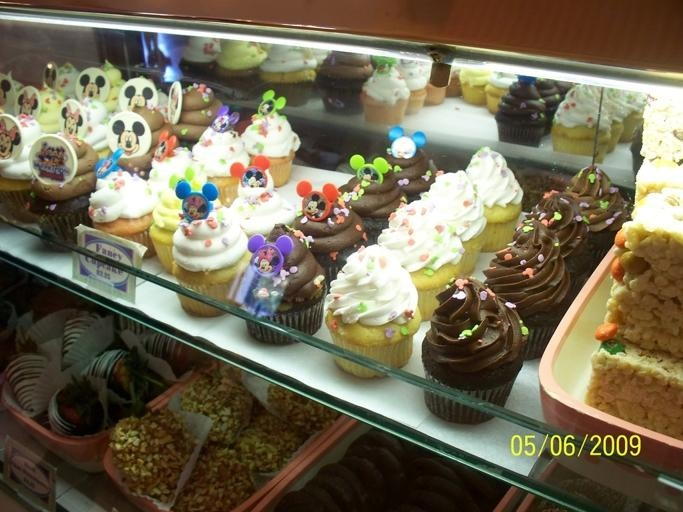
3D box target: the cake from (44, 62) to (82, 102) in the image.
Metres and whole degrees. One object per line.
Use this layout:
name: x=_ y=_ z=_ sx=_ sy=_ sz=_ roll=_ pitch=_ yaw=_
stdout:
cake: x=-1.662 y=-1.023 z=3.111 sx=0.163 sy=0.214 sz=0.185 roll=16 pitch=14 yaw=9

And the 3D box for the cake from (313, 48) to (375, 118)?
cake: x=0.059 y=-0.916 z=2.767 sx=0.287 sy=0.269 sz=0.309 roll=22 pitch=38 yaw=28

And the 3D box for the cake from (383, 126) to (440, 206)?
cake: x=0.318 y=-0.487 z=2.633 sx=0.310 sy=0.296 sz=0.314 roll=18 pitch=41 yaw=23

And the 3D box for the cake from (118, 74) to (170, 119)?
cake: x=-1.122 y=-0.891 z=2.942 sx=0.245 sy=0.236 sz=0.059 roll=-10 pitch=5 yaw=9

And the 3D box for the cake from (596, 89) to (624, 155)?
cake: x=1.181 y=-0.600 z=2.306 sx=0.157 sy=0.216 sz=0.159 roll=7 pitch=39 yaw=24

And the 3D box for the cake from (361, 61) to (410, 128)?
cake: x=0.219 y=-0.833 z=2.630 sx=0.250 sy=0.345 sz=0.255 roll=18 pitch=38 yaw=25

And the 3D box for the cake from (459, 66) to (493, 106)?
cake: x=0.606 y=-0.796 z=2.449 sx=0.142 sy=0.147 sz=0.149 roll=25 pitch=34 yaw=34

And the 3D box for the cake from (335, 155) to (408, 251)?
cake: x=0.156 y=-0.242 z=2.578 sx=0.402 sy=0.348 sz=0.393 roll=-1 pitch=35 yaw=6

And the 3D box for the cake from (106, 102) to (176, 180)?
cake: x=-1.163 y=-0.620 z=2.753 sx=0.352 sy=0.321 sz=0.346 roll=1 pitch=29 yaw=-32

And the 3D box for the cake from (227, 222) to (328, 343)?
cake: x=-0.224 y=0.087 z=2.089 sx=0.360 sy=0.441 sz=0.400 roll=16 pitch=28 yaw=19

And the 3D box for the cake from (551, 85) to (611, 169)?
cake: x=1.131 y=-0.626 z=2.462 sx=0.248 sy=0.332 sz=0.260 roll=-1 pitch=4 yaw=41

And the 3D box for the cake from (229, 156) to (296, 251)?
cake: x=-0.388 y=-0.289 z=2.468 sx=0.369 sy=0.375 sz=0.378 roll=4 pitch=30 yaw=11

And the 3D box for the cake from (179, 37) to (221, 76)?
cake: x=-0.781 y=-1.106 z=2.906 sx=0.187 sy=0.199 sz=0.179 roll=5 pitch=52 yaw=-6

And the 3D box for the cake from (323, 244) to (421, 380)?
cake: x=0.113 y=0.191 z=1.979 sx=0.372 sy=0.424 sz=0.359 roll=-23 pitch=32 yaw=-34

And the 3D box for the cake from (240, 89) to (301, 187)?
cake: x=-0.413 y=-0.655 z=3.020 sx=0.382 sy=0.505 sz=0.338 roll=-2 pitch=21 yaw=-38

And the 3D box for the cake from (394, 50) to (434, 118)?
cake: x=0.327 y=-0.824 z=2.551 sx=0.190 sy=0.273 sz=0.186 roll=-10 pitch=28 yaw=-19

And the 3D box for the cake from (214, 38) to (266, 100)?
cake: x=-0.609 y=-1.050 z=2.977 sx=0.318 sy=0.394 sz=0.288 roll=3 pitch=1 yaw=-18

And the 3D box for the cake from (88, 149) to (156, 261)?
cake: x=-1.106 y=-0.265 z=2.653 sx=0.380 sy=0.534 sz=0.383 roll=4 pitch=12 yaw=-19

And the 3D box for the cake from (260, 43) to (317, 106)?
cake: x=-0.276 y=-1.020 z=2.869 sx=0.325 sy=0.317 sz=0.339 roll=17 pitch=28 yaw=41
